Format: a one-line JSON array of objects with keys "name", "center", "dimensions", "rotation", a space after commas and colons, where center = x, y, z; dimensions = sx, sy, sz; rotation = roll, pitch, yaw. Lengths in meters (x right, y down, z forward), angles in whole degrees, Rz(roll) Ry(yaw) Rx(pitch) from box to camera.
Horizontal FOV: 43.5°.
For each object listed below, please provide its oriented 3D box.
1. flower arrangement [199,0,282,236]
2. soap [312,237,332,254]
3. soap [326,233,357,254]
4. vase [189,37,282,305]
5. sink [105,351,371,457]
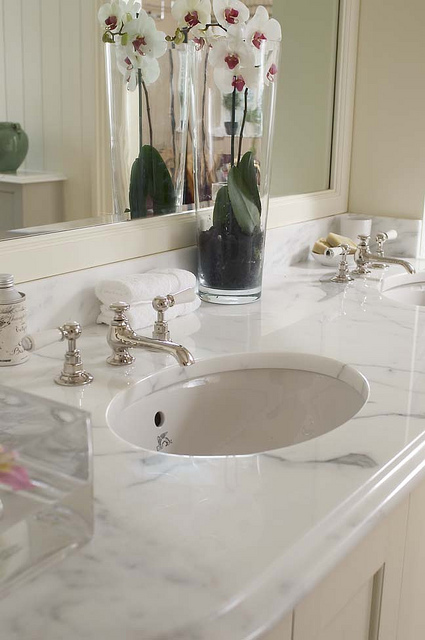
[{"name": "flower arrangement", "center": [0.065, -0.420, 1.139], "dimensions": [0.151, 0.470, 0.100], "rotation": [1, 12, -3]}, {"name": "soap", "center": [0.343, -0.229, 1.654], "dimensions": [0.059, 0.041, 0.113], "rotation": [2, 12, -2]}, {"name": "soap", "center": [0.402, -0.246, 1.656], "dimensions": [0.073, 0.027, 0.074], "rotation": [32, 22, 16]}, {"name": "vase", "center": [0.032, -0.334, 1.263], "dimensions": [0.217, 0.593, 0.208], "rotation": [-3, 22, -5]}, {"name": "sink", "center": [0.030, 0.154, 0.861], "dimensions": [0.395, 0.169, 0.180], "rotation": [-1, 12, -14]}]
